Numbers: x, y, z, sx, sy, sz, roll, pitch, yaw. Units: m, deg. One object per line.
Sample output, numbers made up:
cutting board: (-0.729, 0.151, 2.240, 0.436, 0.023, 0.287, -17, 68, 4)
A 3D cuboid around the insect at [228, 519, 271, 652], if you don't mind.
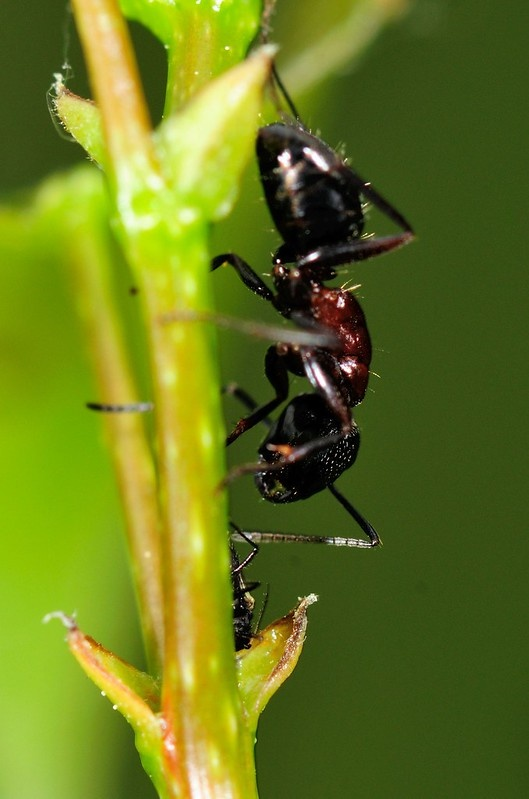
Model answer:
insect: (-0.023, 0.257, 1.108, 0.041, 0.128, 0.100, 2, -2, 37)
